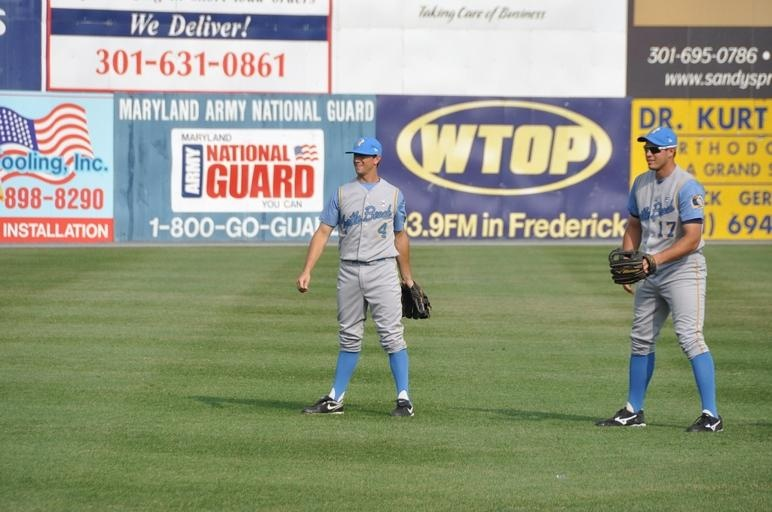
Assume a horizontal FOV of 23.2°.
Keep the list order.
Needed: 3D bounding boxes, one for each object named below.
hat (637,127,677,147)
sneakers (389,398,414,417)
[{"bbox_3d":[5.329,-2.311,36.495,0.590,0.288,0.422,2,3,-7],"label":"hat"},{"bbox_3d":[0.342,2.981,36.755,0.272,0.258,0.429,0,-12,5],"label":"sneakers"}]
